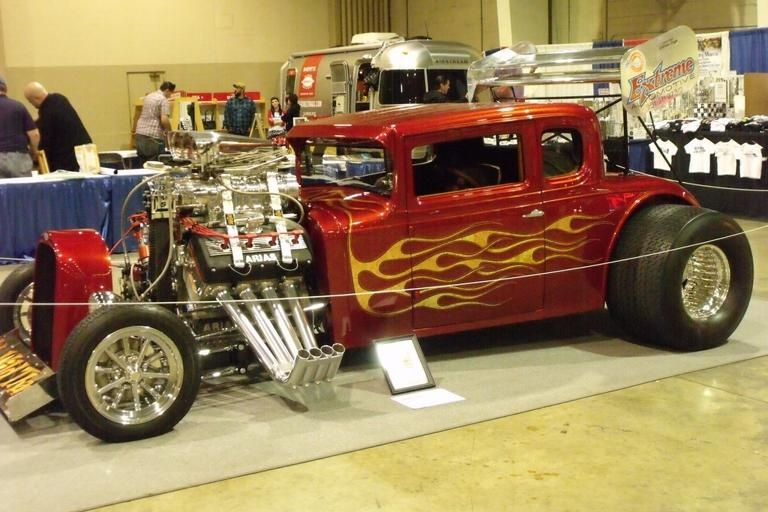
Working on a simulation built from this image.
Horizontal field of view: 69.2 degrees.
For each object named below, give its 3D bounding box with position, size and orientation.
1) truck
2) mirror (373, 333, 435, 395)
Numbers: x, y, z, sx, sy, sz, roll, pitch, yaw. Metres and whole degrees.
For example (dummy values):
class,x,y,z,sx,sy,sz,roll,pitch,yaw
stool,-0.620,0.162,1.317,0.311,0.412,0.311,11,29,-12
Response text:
class,x,y,z,sx,sy,sz,roll,pitch,yaw
truck,-0.437,-3.730,12.498,3.140,2.070,4.801,-7,10,-31
mirror,0.129,0.764,3.900,0.388,0.402,0.042,-13,-22,-29
